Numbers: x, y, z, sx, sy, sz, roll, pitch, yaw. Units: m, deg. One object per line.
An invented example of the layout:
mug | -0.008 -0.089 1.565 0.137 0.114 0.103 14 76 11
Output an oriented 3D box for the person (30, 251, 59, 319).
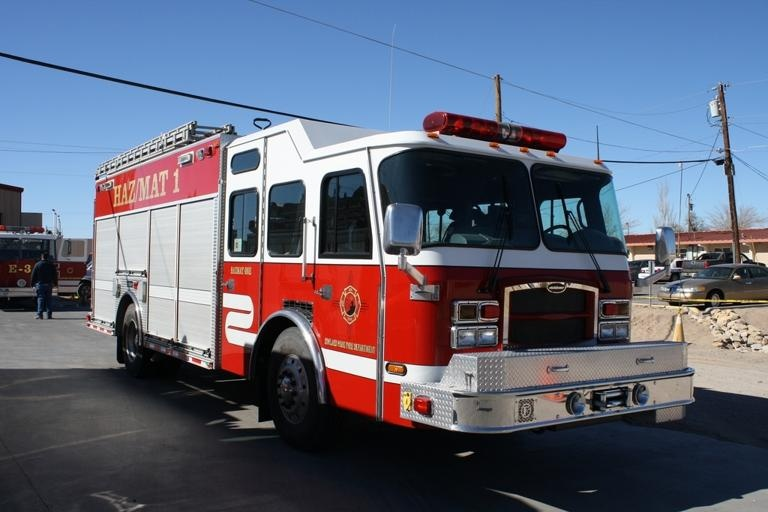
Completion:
person | -10.567 0.928 18.631 0.636 2.025 1.328 -1 4 -31

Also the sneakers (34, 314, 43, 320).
sneakers | -10.650 1.860 18.466 0.158 0.236 0.328 1 0 -43

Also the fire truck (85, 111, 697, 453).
fire truck | -1.586 0.099 8.343 10.310 3.957 2.880 4 5 36
